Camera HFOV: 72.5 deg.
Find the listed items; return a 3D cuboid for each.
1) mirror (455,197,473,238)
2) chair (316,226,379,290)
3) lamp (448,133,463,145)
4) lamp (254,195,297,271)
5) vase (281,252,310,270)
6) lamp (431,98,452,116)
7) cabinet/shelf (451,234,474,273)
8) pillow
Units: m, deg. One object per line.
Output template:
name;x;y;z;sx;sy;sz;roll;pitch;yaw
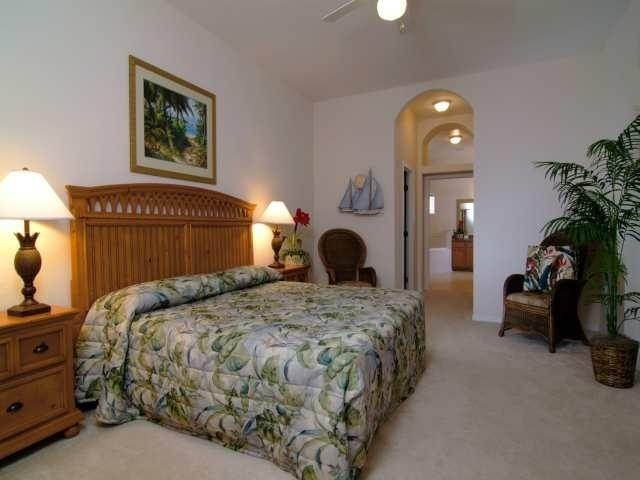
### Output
mirror;3.512;-0.540;10.644;0.411;0.931;0.443;-1;1;11
chair;0.300;0.215;5.620;0.660;1.084;0.688;-1;-5;-12
lamp;2.323;-1.785;7.600;0.260;0.215;0.270;7;19;39
lamp;-0.503;-0.099;4.843;0.563;1.043;0.623;-1;7;-13
vase;-0.305;0.236;5.193;0.201;0.149;0.218;0;0;10
lamp;1.602;-1.761;5.778;0.158;0.121;0.169;-5;8;-20
cabinet/shelf;3.346;0.320;10.465;0.695;1.137;0.681;-1;-4;17
pillow;2.338;0.289;4.379;0.073;0.618;0.481;8;-3;-31
